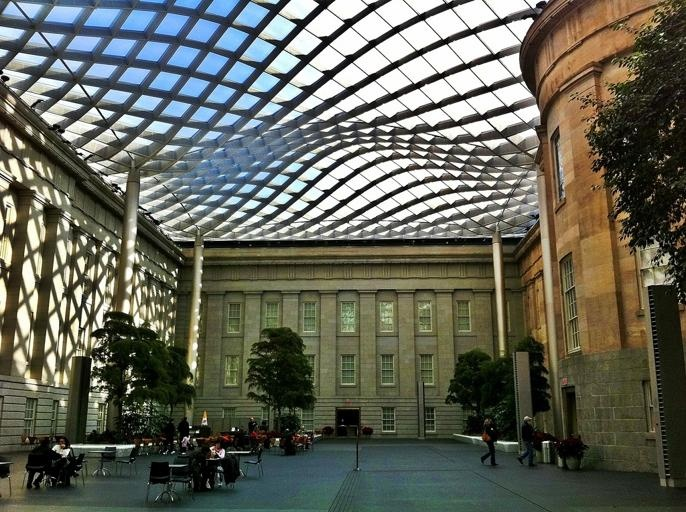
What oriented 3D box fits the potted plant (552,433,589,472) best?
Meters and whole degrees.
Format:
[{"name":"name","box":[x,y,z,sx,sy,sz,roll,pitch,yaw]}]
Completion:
[{"name":"potted plant","box":[9.462,7.841,23.928,1.464,1.279,1.341,10,-16,-33]}]
